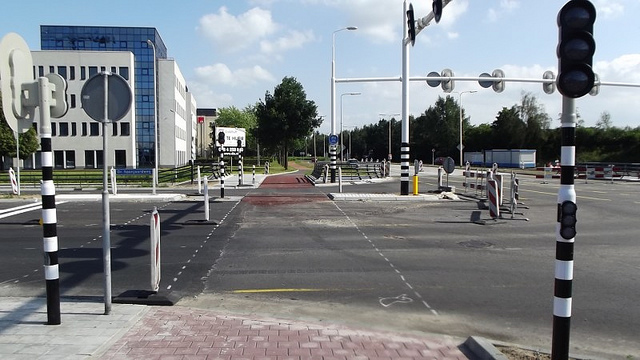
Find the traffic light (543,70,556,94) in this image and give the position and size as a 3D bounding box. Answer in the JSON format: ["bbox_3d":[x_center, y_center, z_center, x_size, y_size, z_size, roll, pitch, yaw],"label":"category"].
[{"bbox_3d":[13.858,-5.837,34.633,0.646,1.309,2.542,-1,4,22],"label":"traffic light"}]

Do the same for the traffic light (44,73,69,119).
[{"bbox_3d":[-6.846,-2.201,14.841,0.478,1.115,0.427,-4,4,-23],"label":"traffic light"}]

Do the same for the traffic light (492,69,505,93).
[{"bbox_3d":[10.225,-5.727,32.834,0.600,1.278,1.500,-2,4,18],"label":"traffic light"}]

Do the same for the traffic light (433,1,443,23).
[{"bbox_3d":[5.008,-7.160,24.251,0.230,0.840,0.438,-4,4,-20],"label":"traffic light"}]
